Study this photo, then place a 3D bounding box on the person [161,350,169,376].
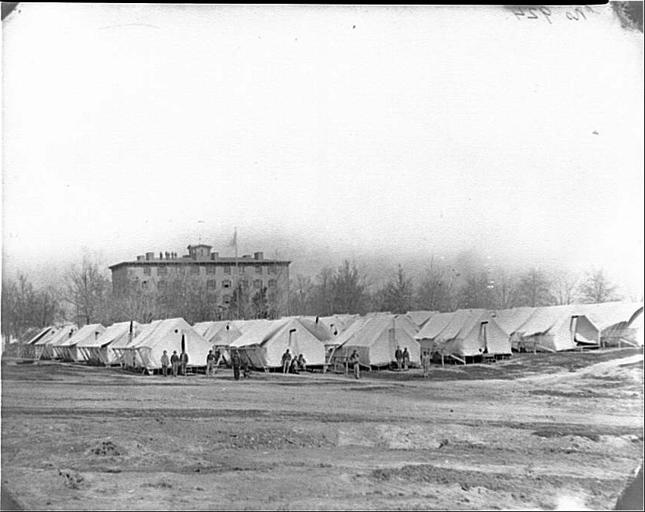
[{"bbox_3d":[-4.046,2.737,22.519,0.213,0.697,0.718,-3,14,-11],"label":"person"}]
